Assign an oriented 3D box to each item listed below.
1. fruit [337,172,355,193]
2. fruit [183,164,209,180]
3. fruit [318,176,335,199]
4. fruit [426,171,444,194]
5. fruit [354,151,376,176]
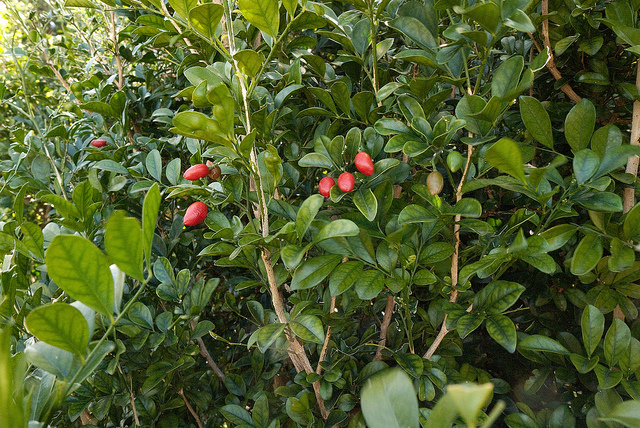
[{"bbox_3d":[0.078,-0.093,1.728,0.043,0.045,0.061,-8,74,13],"label":"fruit"},{"bbox_3d":[-0.392,-0.131,1.828,0.076,0.045,0.044,-29,13,-18],"label":"fruit"},{"bbox_3d":[0.019,-0.082,1.763,0.045,0.047,0.063,4,60,7],"label":"fruit"},{"bbox_3d":[0.341,-0.081,1.729,0.052,0.040,0.068,-34,45,52],"label":"fruit"},{"bbox_3d":[0.136,-0.144,1.754,0.054,0.039,0.072,-40,72,15],"label":"fruit"}]
